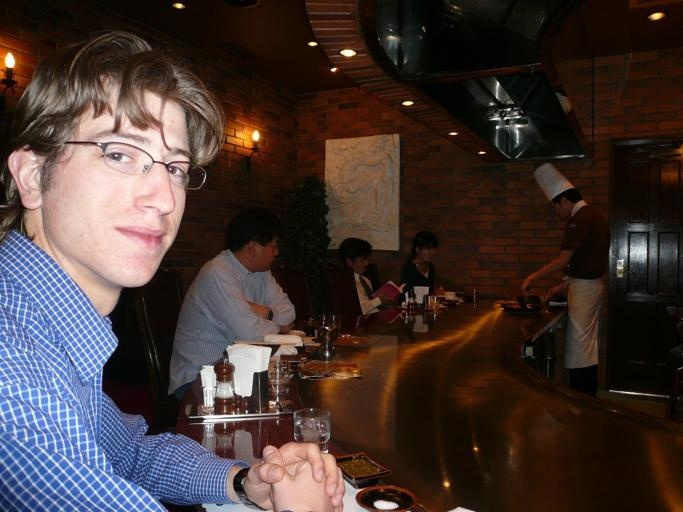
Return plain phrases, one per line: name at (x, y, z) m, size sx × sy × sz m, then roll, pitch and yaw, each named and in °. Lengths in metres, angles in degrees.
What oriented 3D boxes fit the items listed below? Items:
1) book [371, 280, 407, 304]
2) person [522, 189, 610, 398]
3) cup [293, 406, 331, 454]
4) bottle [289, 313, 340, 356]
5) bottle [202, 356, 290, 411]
book at (0.353, 0.262, 4.202) m, size 0.219 × 0.078 × 0.226 m, roll 22°, pitch -47°, yaw -31°
person at (1.949, 0.280, 4.464) m, size 0.489 × 1.731 × 0.361 m, roll -2°, pitch -3°, yaw 23°
cup at (-0.072, 0.432, 1.360) m, size 0.091 × 0.098 × 0.093 m, roll 0°, pitch -9°, yaw 0°
bottle at (-0.120, 0.355, 2.355) m, size 0.226 × 0.199 × 0.146 m, roll 2°, pitch -10°, yaw 11°
bottle at (-0.297, 0.361, 1.681) m, size 0.202 × 0.130 × 0.195 m, roll 2°, pitch 2°, yaw 0°
